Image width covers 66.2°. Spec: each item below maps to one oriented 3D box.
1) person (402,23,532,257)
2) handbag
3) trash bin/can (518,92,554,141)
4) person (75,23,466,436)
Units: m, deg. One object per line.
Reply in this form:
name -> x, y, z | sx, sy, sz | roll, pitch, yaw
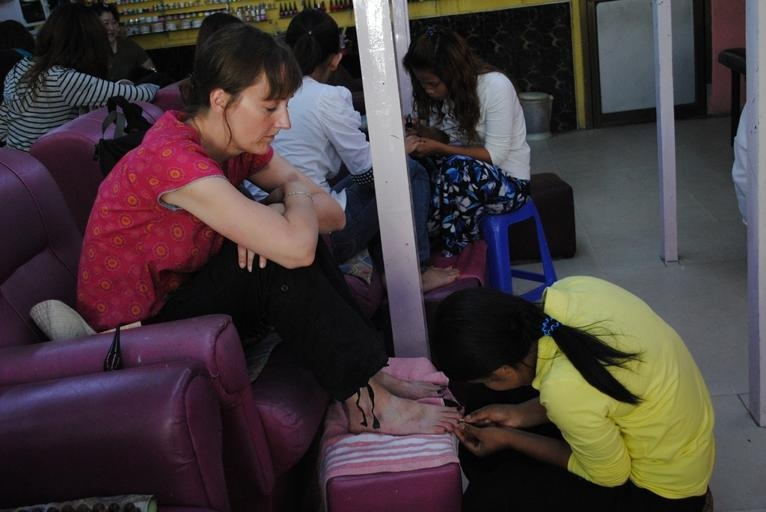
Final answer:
person -> 0.366, -0.614, 3.303 | 0.813, 1.160, 0.932 | 6, 26, 29
handbag -> -1.064, -0.515, 2.359 | 0.158, 0.114, 0.203 | -7, -2, 3
trash bin/can -> 1.769, -1.593, 6.743 | 0.416, 0.479, 0.352 | -3, 17, 19
person -> -0.411, -0.067, 1.995 | 1.290, 1.229, 0.588 | 4, 20, 10
